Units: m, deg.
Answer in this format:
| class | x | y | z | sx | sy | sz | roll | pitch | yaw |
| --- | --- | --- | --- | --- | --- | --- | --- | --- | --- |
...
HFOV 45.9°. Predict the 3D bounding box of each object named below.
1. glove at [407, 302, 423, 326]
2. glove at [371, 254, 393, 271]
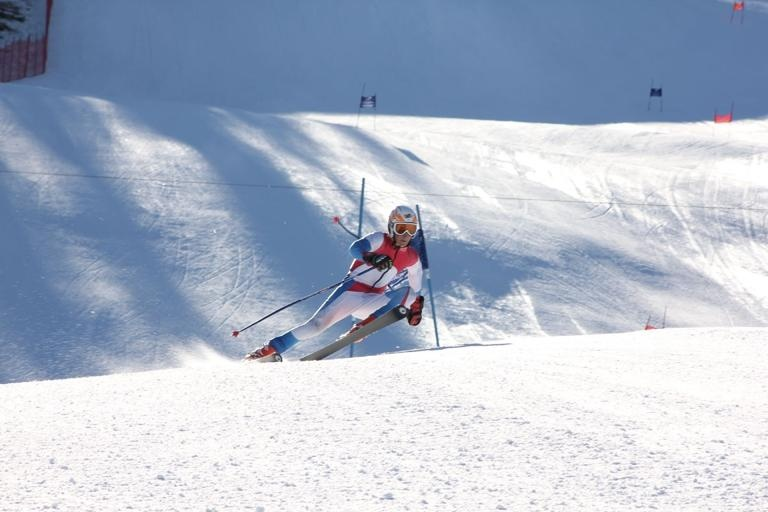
| class | x | y | z | sx | sy | sz | roll | pitch | yaw |
| --- | --- | --- | --- | --- | --- | --- | --- | --- | --- |
| glove | 0.562 | 1.115 | 17.034 | 0.281 | 0.463 | 0.239 | -15 | 30 | -40 |
| glove | -0.029 | 0.135 | 16.558 | 0.279 | 0.296 | 0.209 | -13 | 22 | -40 |
